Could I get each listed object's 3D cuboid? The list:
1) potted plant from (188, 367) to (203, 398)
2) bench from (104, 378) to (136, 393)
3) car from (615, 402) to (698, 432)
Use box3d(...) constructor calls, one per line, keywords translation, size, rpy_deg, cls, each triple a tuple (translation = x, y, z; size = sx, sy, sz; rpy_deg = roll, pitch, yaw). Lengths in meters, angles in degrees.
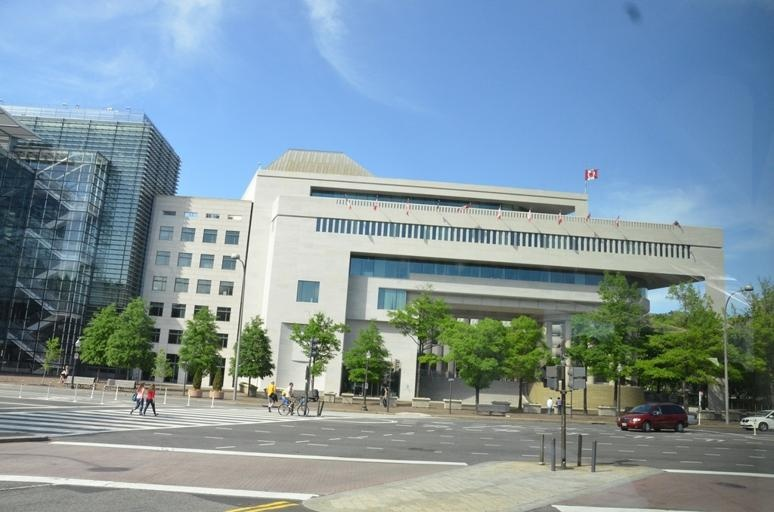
box3d(translation=(-18.434, 12.370, 68.049), size=(1.106, 2.690, 2.501), rpy_deg=(5, -15, -13), cls="potted plant")
box3d(translation=(-26.480, 12.975, 69.889), size=(2.562, 1.374, 6.591), rpy_deg=(6, -15, -20), cls="bench")
box3d(translation=(18.877, 11.629, 50.325), size=(4.576, 2.047, 1.377), rpy_deg=(5, -15, -17), cls="car")
